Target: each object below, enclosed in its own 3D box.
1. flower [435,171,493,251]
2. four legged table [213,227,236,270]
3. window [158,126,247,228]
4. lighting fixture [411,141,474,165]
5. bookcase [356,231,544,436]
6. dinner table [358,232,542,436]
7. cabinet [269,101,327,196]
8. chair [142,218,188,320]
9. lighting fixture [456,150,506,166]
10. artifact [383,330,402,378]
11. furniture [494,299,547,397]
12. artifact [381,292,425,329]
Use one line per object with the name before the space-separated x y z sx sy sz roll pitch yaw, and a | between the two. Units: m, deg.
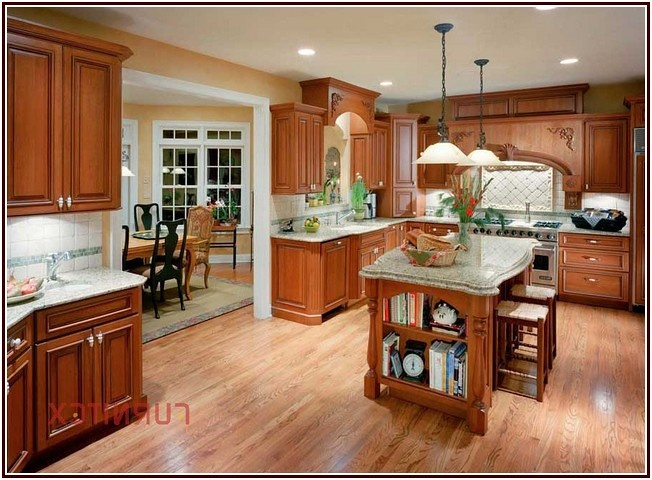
flower | 1.432 -0.251 4.379 0.368 0.583 0.397 -3 13 -27
four legged table | -1.874 0.103 7.949 0.501 0.779 0.644 -3 14 -12
window | -2.343 -1.222 7.947 1.987 2.325 0.098 0 3 -11
lighting fixture | 1.081 -0.792 3.927 0.427 0.196 0.504 5 14 20
bookcase | 1.068 0.736 3.866 1.058 1.018 1.676 2 5 27
dinner table | 1.334 0.715 4.026 1.121 1.097 1.878 5 11 39
cabinet | -0.351 -1.103 5.223 0.649 1.049 0.432 -2 14 -9
chair | -2.119 0.308 5.514 0.541 1.274 0.568 -5 18 -38
lighting fixture | 1.514 -0.791 4.276 0.399 0.160 0.406 3 5 38
artifact | 0.557 0.988 3.628 0.065 0.280 0.269 -1 -2 26
furniture | 1.821 0.955 3.966 0.425 0.699 0.783 2 6 33
artifact | 0.642 0.579 3.521 0.263 0.358 0.367 1 0 39
